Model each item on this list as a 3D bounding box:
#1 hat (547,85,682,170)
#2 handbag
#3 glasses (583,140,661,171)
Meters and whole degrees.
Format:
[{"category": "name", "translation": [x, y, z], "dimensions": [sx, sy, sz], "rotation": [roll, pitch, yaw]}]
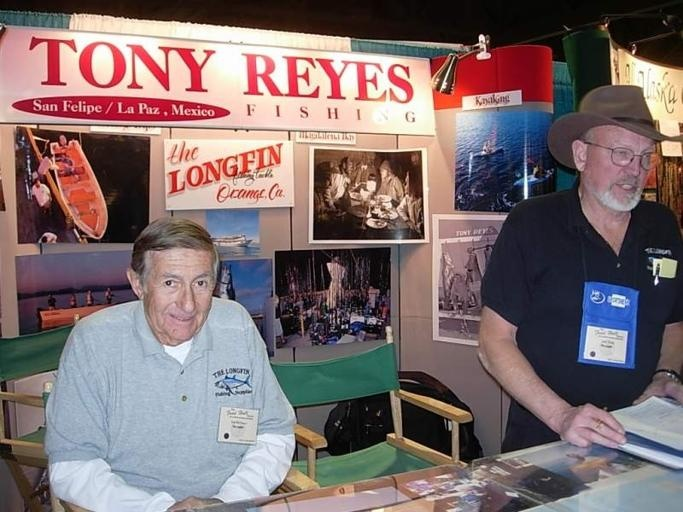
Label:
[{"category": "hat", "translation": [1.047, -0.568, 2.279], "dimensions": [0.408, 0.192, 0.479], "rotation": [23, -19, -30]}, {"category": "handbag", "translation": [0.320, 1.044, 3.898], "dimensions": [0.649, 0.732, 0.531], "rotation": [-5, -6, -2]}, {"category": "glasses", "translation": [1.082, -0.399, 2.163], "dimensions": [0.143, 0.046, 0.178], "rotation": [4, 10, -26]}]
